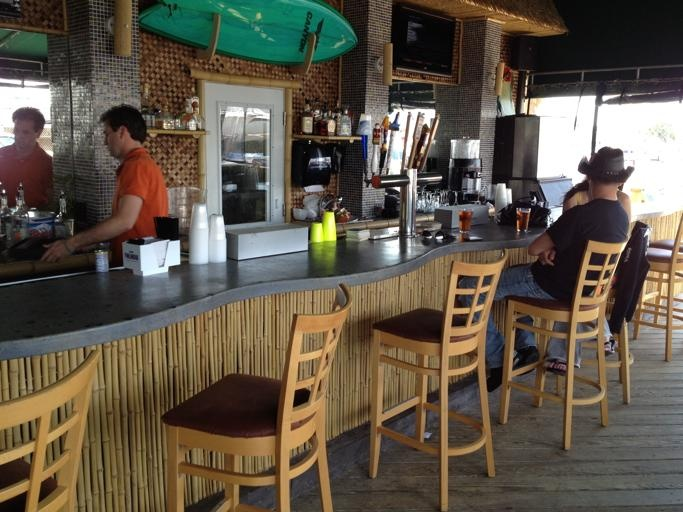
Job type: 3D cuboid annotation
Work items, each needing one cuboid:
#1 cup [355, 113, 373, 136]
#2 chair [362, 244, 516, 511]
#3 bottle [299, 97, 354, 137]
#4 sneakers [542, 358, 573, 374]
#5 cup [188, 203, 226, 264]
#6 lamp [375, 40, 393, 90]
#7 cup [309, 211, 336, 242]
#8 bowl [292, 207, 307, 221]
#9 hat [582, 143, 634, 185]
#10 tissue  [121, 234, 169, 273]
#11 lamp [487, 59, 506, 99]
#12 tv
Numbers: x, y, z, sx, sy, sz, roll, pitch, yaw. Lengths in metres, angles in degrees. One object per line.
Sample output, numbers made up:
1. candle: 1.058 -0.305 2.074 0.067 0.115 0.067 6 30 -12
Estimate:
1. cup: 0.237 -1.371 5.813 0.223 0.276 0.217 2 9 0
2. chair: 0.590 0.604 3.328 0.775 1.344 0.989 7 16 26
3. bottle: -0.175 -1.451 5.802 0.507 0.447 0.171 -4 11 -26
4. sneakers: 1.521 0.781 3.912 0.075 0.093 0.207 -5 5 -9
5. cup: -0.720 -0.129 2.965 0.215 0.314 0.158 -5 15 -21
6. lamp: 0.467 -2.038 5.877 0.114 0.422 0.194 -8 16 -27
7. cup: -0.144 -0.213 3.750 0.233 0.235 0.133 -10 16 -34
8. bowl: -0.434 -0.440 5.804 0.185 0.131 0.111 1 14 4
9. hat: 1.747 -0.624 3.631 0.249 0.109 0.283 11 35 26
10. tissue : -0.963 -0.028 2.788 0.167 0.208 0.226 15 19 32
11. lamp: 1.993 -2.272 7.088 0.118 0.423 0.436 7 20 24
12. tv: 0.929 -2.540 6.479 0.181 0.538 0.922 15 7 42
